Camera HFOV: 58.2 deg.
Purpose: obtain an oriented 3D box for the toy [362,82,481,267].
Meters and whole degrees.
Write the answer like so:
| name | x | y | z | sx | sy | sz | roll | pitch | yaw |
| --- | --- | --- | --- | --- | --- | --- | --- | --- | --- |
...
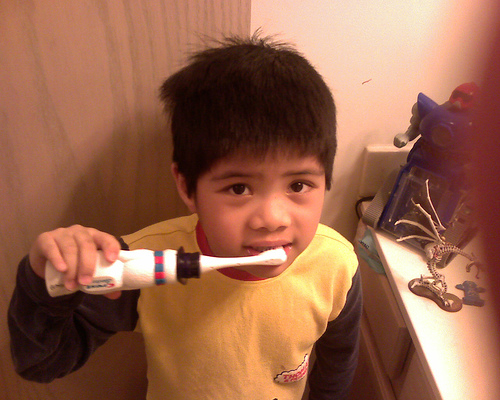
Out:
| name | x | y | z | sx | sy | sz | roll | pitch | yaw |
| --- | --- | --- | --- | --- | --- | --- | --- | --- | --- |
| toy | 0.427 | -0.074 | 0.994 | 0.211 | 0.359 | 0.200 | 22 | 29 | 36 |

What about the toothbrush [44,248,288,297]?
| name | x | y | z | sx | sy | sz | roll | pitch | yaw |
| --- | --- | --- | --- | --- | --- | --- | --- | --- | --- |
| toothbrush | -0.114 | 0.101 | 0.622 | 0.244 | 0.073 | 0.056 | -5 | 21 | 4 |

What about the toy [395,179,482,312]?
| name | x | y | z | sx | sy | sz | roll | pitch | yaw |
| --- | --- | --- | --- | --- | --- | --- | --- | --- | --- |
| toy | 0.391 | 0.107 | 0.906 | 0.107 | 0.208 | 0.159 | -5 | 11 | -36 |
